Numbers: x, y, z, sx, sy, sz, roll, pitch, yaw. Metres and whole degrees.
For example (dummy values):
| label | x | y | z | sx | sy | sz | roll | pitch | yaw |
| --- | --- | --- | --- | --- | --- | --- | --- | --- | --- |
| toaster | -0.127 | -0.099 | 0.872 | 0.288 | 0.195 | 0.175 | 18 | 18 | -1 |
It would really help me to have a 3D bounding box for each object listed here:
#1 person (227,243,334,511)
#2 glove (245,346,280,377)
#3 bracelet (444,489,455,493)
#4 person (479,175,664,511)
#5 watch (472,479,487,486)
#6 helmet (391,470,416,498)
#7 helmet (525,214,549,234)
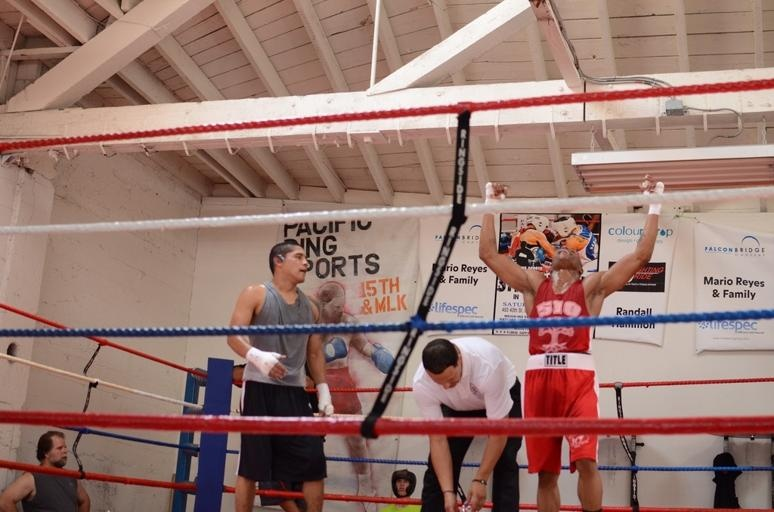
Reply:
| label | x | y | z | sx | sy | sz | roll | pitch | yaw |
| --- | --- | --- | --- | --- | --- | --- | --- | --- | --- |
| person | -0.669 | 0.702 | 4.269 | 0.542 | 1.706 | 0.808 | -4 | -21 | 19 |
| glove | -0.731 | 0.615 | 4.041 | 0.181 | 0.172 | 0.079 | 27 | 20 | 14 |
| bracelet | 0.384 | 1.429 | 4.120 | 0.061 | 0.027 | 0.038 | 10 | -20 | -21 |
| person | 1.125 | 0.531 | 4.172 | 1.087 | 1.969 | 0.912 | 0 | -20 | 8 |
| watch | 0.547 | 1.351 | 4.091 | 0.051 | 0.017 | 0.053 | 14 | -10 | -36 |
| helmet | 0.152 | 2.120 | 6.331 | 0.239 | 0.252 | 0.279 | 0 | -27 | 2 |
| helmet | 1.666 | -0.387 | 7.553 | 0.236 | 0.219 | 0.176 | -16 | 16 | -6 |
